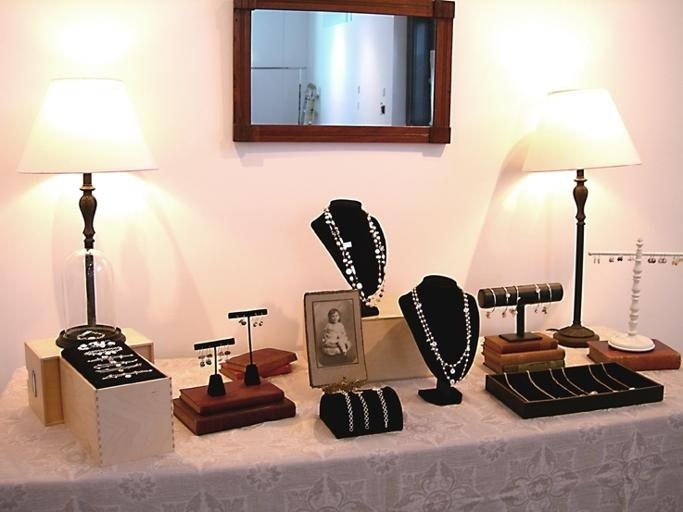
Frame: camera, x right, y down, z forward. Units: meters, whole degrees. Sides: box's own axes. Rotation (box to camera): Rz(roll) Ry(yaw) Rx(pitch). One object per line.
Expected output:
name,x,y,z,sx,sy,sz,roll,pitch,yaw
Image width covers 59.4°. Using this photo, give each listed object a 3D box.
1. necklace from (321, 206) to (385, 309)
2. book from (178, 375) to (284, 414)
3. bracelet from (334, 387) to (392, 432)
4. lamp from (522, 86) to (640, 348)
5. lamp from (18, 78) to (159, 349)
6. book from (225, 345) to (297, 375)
necklace,0.042,-0.002,1.931,0.201,0.344,0.148,-2,13,-2
book,-0.301,0.398,1.694,0.163,0.022,0.119,-3,9,-28
bracelet,0.061,0.407,1.693,0.159,0.140,0.088,-1,-8,-15
lamp,0.866,-0.143,2.249,0.360,0.936,0.408,-2,13,-1
lamp,-0.800,-0.146,1.808,0.342,0.771,0.355,3,13,22
book,-0.267,0.352,1.992,0.114,0.029,0.113,-7,10,-37
